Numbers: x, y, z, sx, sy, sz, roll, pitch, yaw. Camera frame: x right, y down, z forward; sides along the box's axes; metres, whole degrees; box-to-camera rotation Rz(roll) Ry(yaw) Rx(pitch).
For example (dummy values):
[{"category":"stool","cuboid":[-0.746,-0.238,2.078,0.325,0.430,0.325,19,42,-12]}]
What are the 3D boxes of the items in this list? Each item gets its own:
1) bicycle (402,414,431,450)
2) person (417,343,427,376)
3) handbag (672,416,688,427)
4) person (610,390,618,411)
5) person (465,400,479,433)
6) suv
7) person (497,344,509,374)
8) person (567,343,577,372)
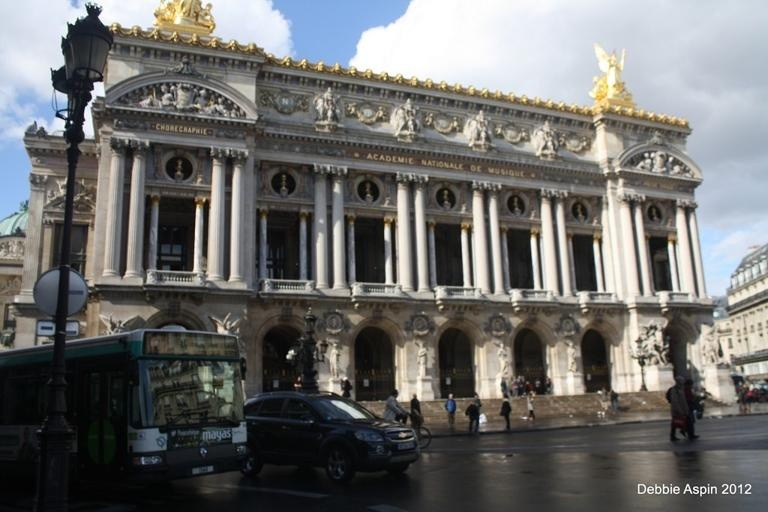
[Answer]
[{"category":"bicycle","cuboid":[1.527,7.484,32.396,0.792,1.009,1.683,5,-11,32]},{"category":"person","cuboid":[2.527,6.780,49.107,0.713,2.229,0.522,-1,-14,-5]},{"category":"handbag","cuboid":[11.383,6.380,28.955,0.419,0.402,0.560,2,-3,-5]},{"category":"person","cuboid":[14.598,9.162,47.626,0.343,1.246,1.246,-5,-14,11]},{"category":"person","cuboid":[4.443,8.029,37.287,0.582,1.536,1.351,-4,-14,6]},{"category":"suv","cuboid":[-1.955,5.926,24.909,5.422,2.967,1.440,-9,-15,25]},{"category":"person","cuboid":[8.136,6.983,51.149,0.787,2.169,0.366,-2,-14,-4]},{"category":"person","cuboid":[13.319,7.170,53.244,0.763,2.128,0.258,4,-15,-26]}]
